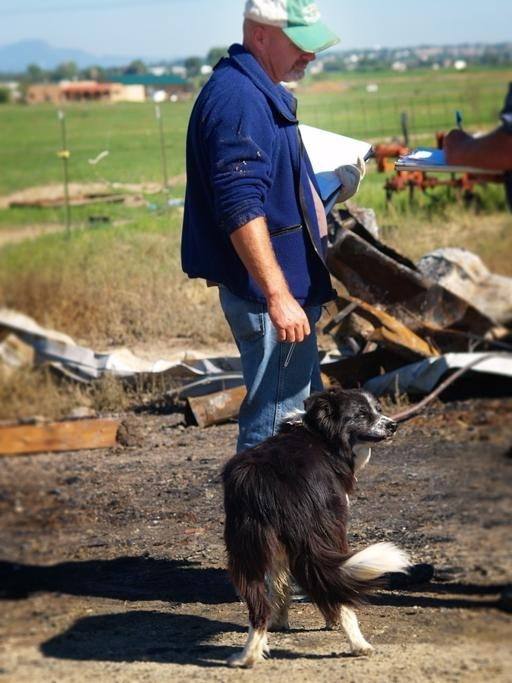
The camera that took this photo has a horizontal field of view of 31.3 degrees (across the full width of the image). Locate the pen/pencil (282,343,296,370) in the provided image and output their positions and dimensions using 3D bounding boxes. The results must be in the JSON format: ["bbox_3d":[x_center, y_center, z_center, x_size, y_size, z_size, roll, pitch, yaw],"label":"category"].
[{"bbox_3d":[0.127,0.056,3.385,0.021,0.107,0.029,18,8,-33],"label":"pen/pencil"}]

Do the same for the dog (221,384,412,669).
[{"bbox_3d":[0.207,0.660,3.181,0.565,0.815,1.239,-2,4,4],"label":"dog"}]

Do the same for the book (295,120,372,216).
[{"bbox_3d":[0.340,-0.746,3.892,0.452,0.108,0.416,17,50,18],"label":"book"}]
